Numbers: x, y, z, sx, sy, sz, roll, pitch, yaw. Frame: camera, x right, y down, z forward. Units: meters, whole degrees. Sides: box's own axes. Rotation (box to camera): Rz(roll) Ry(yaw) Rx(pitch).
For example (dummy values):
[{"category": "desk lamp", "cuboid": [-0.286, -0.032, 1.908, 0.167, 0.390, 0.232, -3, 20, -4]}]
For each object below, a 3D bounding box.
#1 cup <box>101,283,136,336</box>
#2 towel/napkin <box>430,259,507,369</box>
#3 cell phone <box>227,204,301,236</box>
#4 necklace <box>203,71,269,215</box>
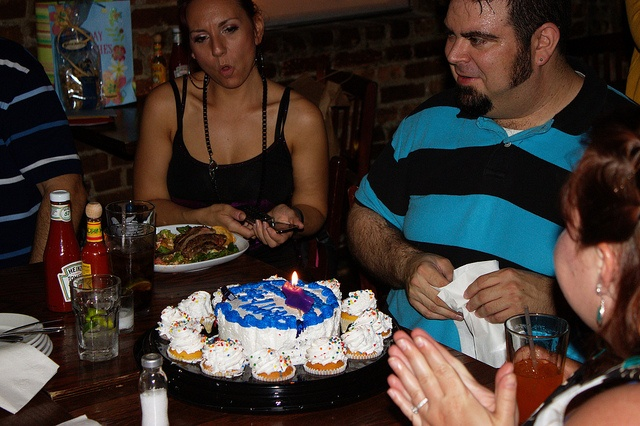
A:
[{"category": "cup", "cuboid": [-0.595, 0.281, 1.540, 0.098, 0.169, 0.098, 3, 7, 0]}, {"category": "towel/napkin", "cuboid": [0.496, 0.315, 1.638, 0.089, 0.287, 0.266, -10, 1, -31]}, {"category": "cell phone", "cuboid": [-0.210, 0.028, 2.090, 0.101, 0.041, 0.319, -8, 30, -33]}, {"category": "necklace", "cuboid": [-0.355, -0.307, 2.307, 0.322, 0.612, 0.631, -6, 16, -11]}]
